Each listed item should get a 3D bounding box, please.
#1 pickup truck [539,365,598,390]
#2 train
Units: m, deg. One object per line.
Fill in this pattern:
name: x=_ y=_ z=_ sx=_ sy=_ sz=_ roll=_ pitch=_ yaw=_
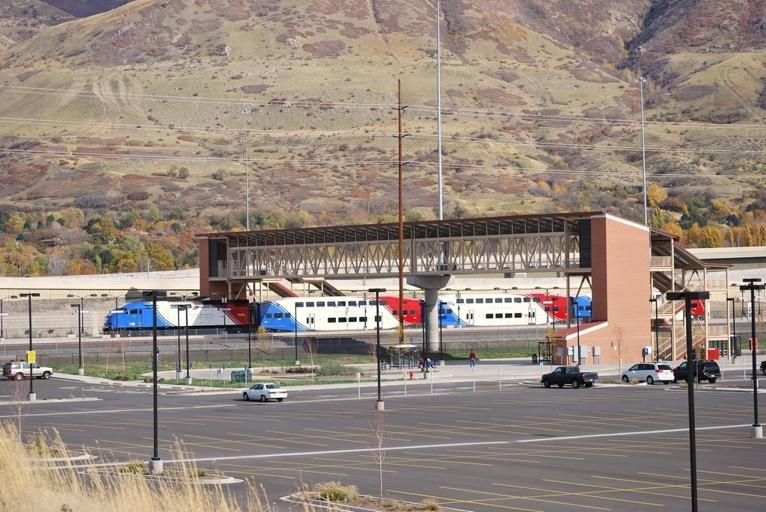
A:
pickup truck: x=38.198 y=24.563 z=349.377 sx=9.189 sy=2.976 sz=4.919 roll=1 pitch=-1 yaw=23
train: x=8.734 y=12.576 z=400.371 sx=77.941 sy=8.773 sz=7.577 roll=-2 pitch=2 yaw=18
